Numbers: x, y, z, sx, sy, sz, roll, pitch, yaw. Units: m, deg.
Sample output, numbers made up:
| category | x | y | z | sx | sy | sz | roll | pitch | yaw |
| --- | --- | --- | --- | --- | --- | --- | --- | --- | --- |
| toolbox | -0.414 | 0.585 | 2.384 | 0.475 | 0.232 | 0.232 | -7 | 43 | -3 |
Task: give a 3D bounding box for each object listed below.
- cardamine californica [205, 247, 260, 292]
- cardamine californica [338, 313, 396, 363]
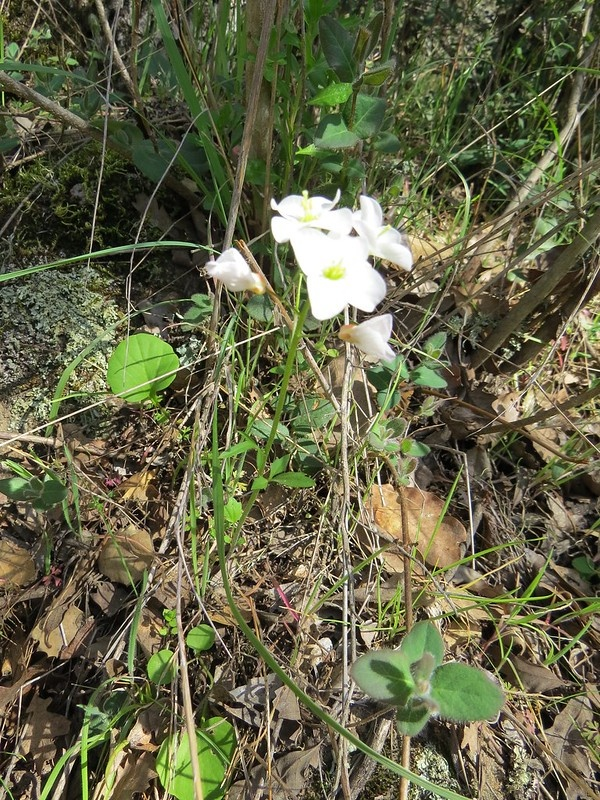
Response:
| category | x | y | z | sx | sy | sz | roll | pitch | yaw |
| --- | --- | --- | --- | --- | --- | --- | --- | --- | --- |
| cardamine californica | -0.159 | -0.288 | 1.430 | 0.116 | 0.090 | 0.061 | -2 | 54 | -50 |
| cardamine californica | 0.159 | -0.135 | 1.468 | 0.086 | 0.135 | 0.117 | -9 | 80 | -8 |
